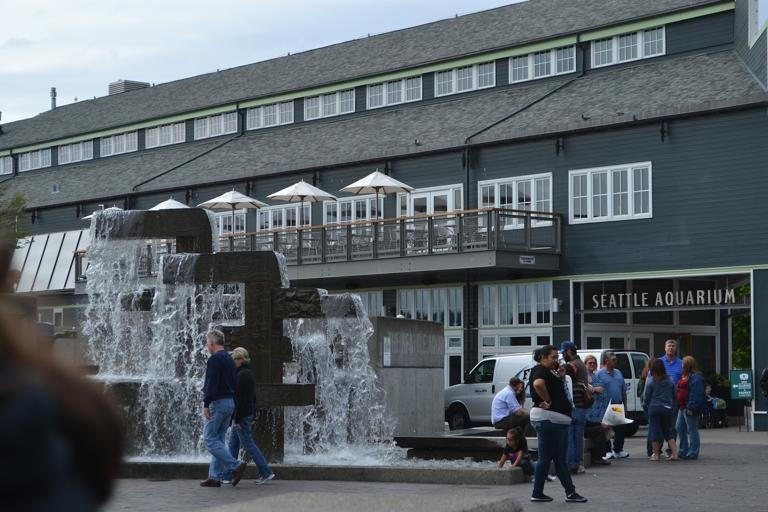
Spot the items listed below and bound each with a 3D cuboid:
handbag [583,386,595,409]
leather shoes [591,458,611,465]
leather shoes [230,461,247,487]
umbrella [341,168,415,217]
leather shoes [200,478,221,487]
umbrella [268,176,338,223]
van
[{"bbox_3d":[4.937,3.473,37.171,0.291,0.557,0.605,1,-7,7],"label":"handbag"},{"bbox_3d":[5.389,5.196,38.402,0.540,0.188,0.172,0,-4,-13],"label":"leather shoes"},{"bbox_3d":[-3.294,4.976,34.870,0.294,0.610,0.219,8,29,-10],"label":"leather shoes"},{"bbox_3d":[-0.225,-1.979,51.993,1.544,1.270,1.703,-10,-12,34],"label":"umbrella"},{"bbox_3d":[-3.982,5.208,34.917,0.499,0.187,0.176,1,-6,15],"label":"leather shoes"},{"bbox_3d":[-2.678,-2.081,54.443,3.001,1.747,1.428,-9,-2,20],"label":"umbrella"},{"bbox_3d":[4.589,4.140,46.618,5.781,2.069,2.839,-2,-8,37],"label":"van"}]
